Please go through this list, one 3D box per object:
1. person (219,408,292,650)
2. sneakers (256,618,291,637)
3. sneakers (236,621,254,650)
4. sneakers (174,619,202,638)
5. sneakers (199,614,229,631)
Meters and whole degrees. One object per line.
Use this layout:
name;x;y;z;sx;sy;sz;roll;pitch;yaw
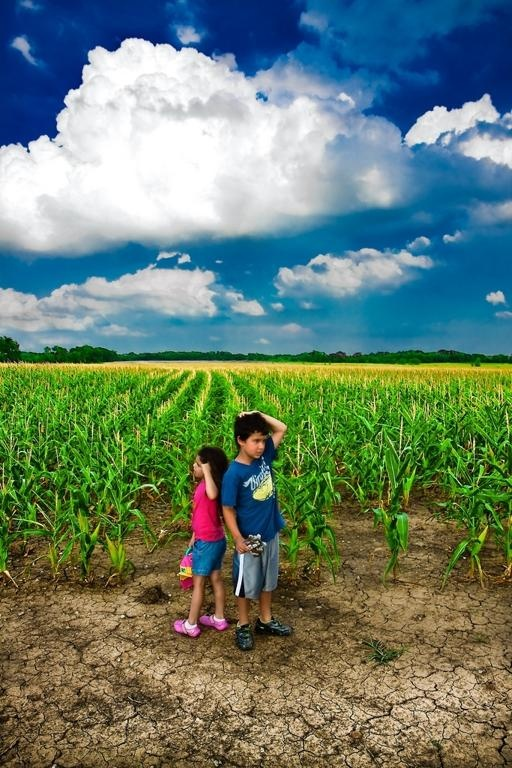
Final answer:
person;0.009;0.878;3.199;0.312;1.449;0.525;2;5;33
sneakers;0.109;1.525;3.299;0.219;0.096;0.091;1;-4;4
sneakers;-0.072;1.530;3.190;0.070;0.063;0.153;1;6;-4
sneakers;-0.439;1.540;3.312;0.151;0.066;0.089;27;13;23
sneakers;-0.272;1.529;3.377;0.174;0.069;0.084;11;5;33
